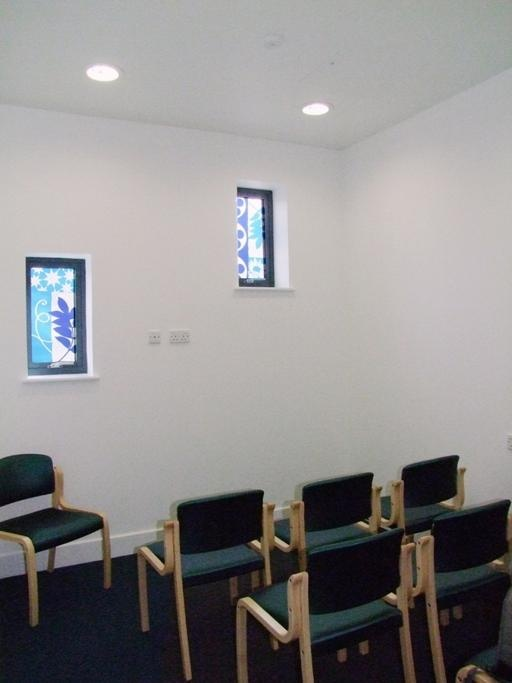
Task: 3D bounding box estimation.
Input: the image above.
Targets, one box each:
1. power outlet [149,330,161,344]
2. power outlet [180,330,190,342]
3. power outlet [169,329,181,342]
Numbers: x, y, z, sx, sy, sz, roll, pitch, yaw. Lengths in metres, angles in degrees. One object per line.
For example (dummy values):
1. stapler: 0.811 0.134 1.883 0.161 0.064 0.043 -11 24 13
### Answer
1. power outlet: -0.655 -0.033 3.705 0.092 0.092 0.067 -7 4 -36
2. power outlet: -0.479 -0.037 3.750 0.081 0.079 0.043 -2 3 -34
3. power outlet: -0.539 -0.028 3.723 0.066 0.089 0.020 -2 2 -34
